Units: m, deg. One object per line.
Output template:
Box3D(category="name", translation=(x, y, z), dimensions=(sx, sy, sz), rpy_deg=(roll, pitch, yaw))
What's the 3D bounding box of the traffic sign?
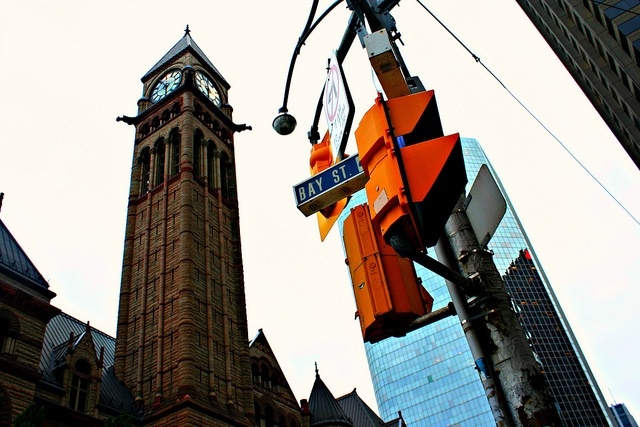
Box3D(category="traffic sign", translation=(0.283, -0.767, 14.791), dimensions=(2.033, 0.991, 0.842), rpy_deg=(-25, -48, 15))
